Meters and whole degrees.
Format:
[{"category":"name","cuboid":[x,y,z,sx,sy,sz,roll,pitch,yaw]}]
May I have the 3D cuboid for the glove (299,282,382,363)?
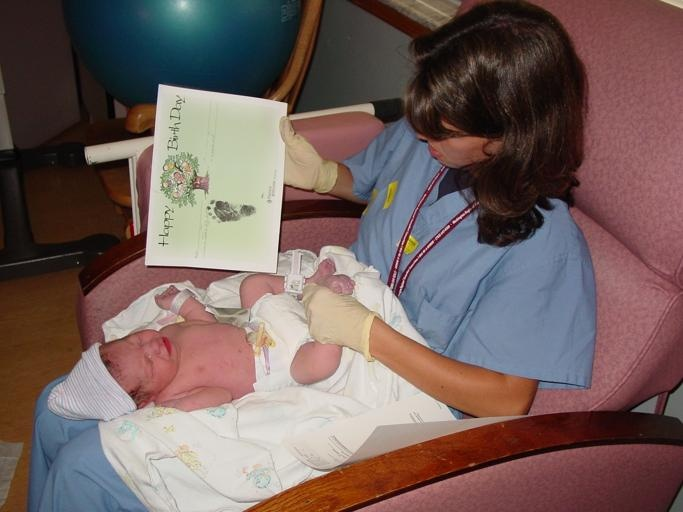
[{"category":"glove","cuboid":[-0.002,0.177,1.500,0.187,0.102,0.129,25,78,37]}]
